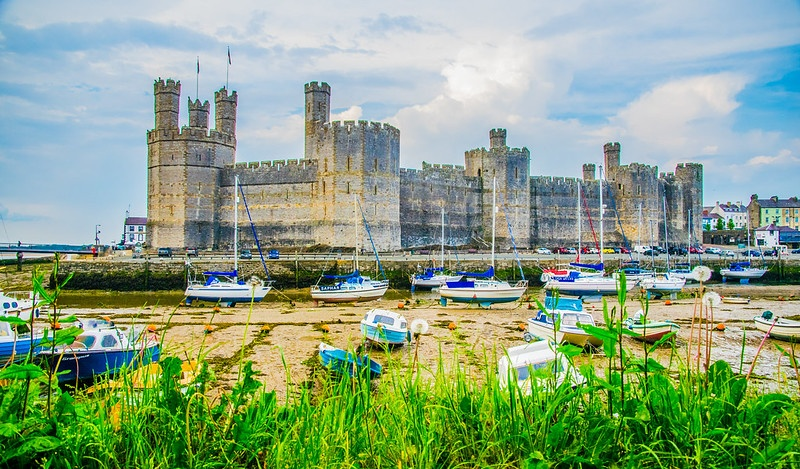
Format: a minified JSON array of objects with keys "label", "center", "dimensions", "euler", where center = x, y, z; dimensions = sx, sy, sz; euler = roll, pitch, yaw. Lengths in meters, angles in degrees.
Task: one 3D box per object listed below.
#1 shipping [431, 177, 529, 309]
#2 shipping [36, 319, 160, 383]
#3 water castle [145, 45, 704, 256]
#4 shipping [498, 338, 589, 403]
[{"label":"shipping","center":[6.884,-0.478,60.256],"dimensions":[4.783,7.381,33.134],"euler":[-1,8,8]},{"label":"shipping","center":[-12.001,4.522,31.800],"dimensions":[2.248,2.342,6.263],"euler":[-3,-3,22]},{"label":"water castle","center":[3.424,-4.803,76.378],"dimensions":[54.763,15.487,8.002],"euler":[2,-10,-23]},{"label":"shipping","center":[4.801,4.588,27.835],"dimensions":[2.897,1.616,4.736],"euler":[-13,8,8]}]
